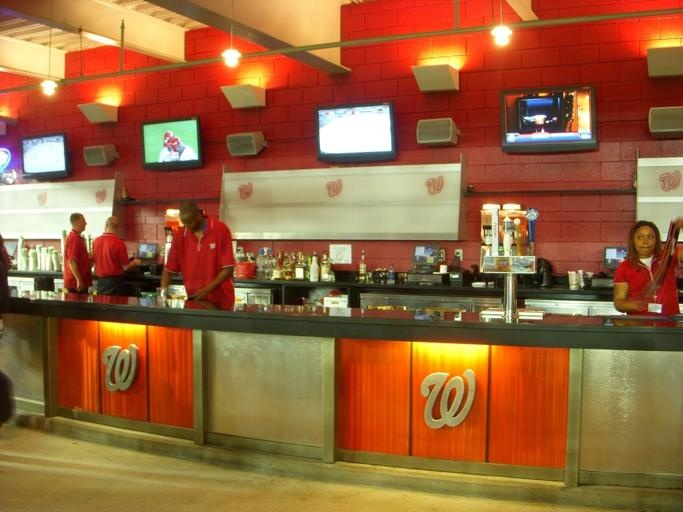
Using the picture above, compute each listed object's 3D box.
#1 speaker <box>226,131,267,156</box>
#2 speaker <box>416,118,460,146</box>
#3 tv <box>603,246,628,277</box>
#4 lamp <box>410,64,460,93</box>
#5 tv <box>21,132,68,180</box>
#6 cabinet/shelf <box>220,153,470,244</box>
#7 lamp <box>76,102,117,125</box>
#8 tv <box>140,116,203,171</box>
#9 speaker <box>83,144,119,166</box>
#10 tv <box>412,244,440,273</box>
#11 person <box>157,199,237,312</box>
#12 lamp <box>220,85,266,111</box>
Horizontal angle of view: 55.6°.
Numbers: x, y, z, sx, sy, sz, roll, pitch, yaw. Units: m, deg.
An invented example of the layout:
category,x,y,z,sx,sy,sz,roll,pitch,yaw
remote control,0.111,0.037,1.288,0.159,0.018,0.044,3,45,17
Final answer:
category,x,y,z,sx,sy,sz,roll,pitch,yaw
speaker,-1.292,-1.516,8.805,0.484,0.312,0.353,2,30,19
speaker,1.201,-1.446,7.882,0.464,0.294,0.335,3,9,21
tv,2.804,0.047,6.600,0.336,0.321,0.172,-1,-6,35
lamp,1.140,-2.155,7.776,0.478,0.287,0.435,-1,-1,21
tv,-4.748,-1.561,10.373,1.019,0.822,0.135,1,4,24
cabinet/shelf,-0.103,-0.680,8.240,3.314,0.947,0.462,1,13,18
lamp,-3.692,-2.172,9.804,0.408,0.250,0.410,-1,-2,28
tv,-2.496,-1.622,9.284,0.134,0.736,1.071,12,18,34
speaker,-3.659,-1.480,9.945,0.446,0.300,0.357,0,39,18
tv,1.031,0.030,7.810,0.360,0.446,0.293,0,-5,17
person,-1.339,-0.037,5.919,0.687,0.889,0.554,0,-2,-3
lamp,-1.321,-2.172,8.748,0.466,0.282,0.366,-1,-2,20
